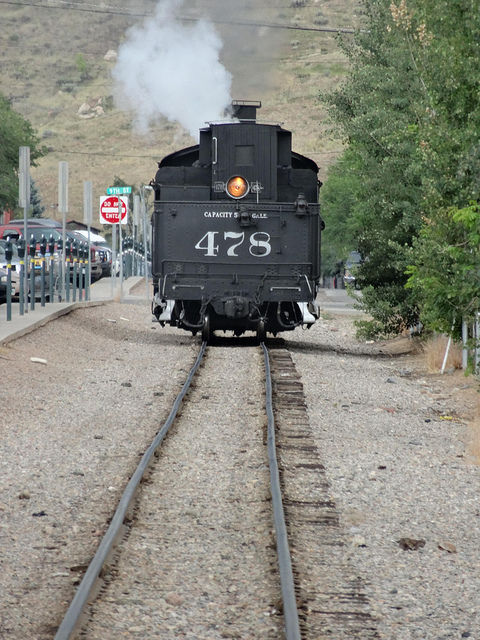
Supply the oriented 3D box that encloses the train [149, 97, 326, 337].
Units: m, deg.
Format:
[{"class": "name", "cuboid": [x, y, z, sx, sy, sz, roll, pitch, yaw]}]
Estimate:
[{"class": "train", "cuboid": [-0.060, -1.633, 16.845, 2.343, 3.182, 4.853, 0, 1, 0]}]
